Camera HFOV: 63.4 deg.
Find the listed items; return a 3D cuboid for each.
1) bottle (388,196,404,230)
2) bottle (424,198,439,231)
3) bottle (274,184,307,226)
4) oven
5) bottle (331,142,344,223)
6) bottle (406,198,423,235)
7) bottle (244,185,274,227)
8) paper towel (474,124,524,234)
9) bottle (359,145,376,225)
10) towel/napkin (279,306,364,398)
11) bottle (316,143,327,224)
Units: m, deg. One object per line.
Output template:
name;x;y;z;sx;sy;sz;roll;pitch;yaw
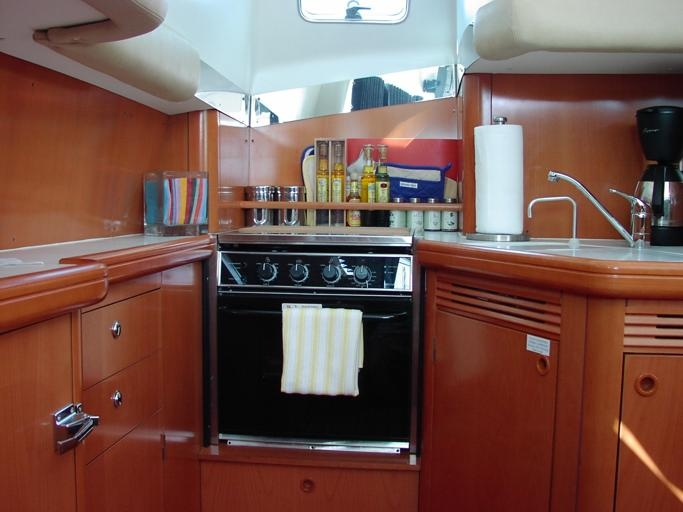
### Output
bottle;0.247;-0.195;2.474;0.073;0.133;0.141;1;3;6
bottle;0.411;-0.186;2.491;0.079;0.144;0.084;0;3;0
bottle;-0.228;-0.243;2.608;0.160;0.189;0.162;1;12;3
oven;-0.107;0.243;2.420;0.772;0.968;0.664;2;20;0
bottle;-0.020;-0.334;2.503;0.066;0.384;0.078;0;2;-1
bottle;0.319;-0.180;2.424;0.079;0.163;0.326;1;3;7
bottle;-0.356;-0.233;2.556;0.157;0.187;0.165;-1;6;-5
paper towel;0.569;-0.274;2.020;0.171;0.391;0.085;1;3;14
bottle;0.116;-0.332;2.494;0.070;0.323;0.071;-1;26;0
towel/napkin;-0.072;0.352;2.084;0.294;0.325;0.085;2;1;8
bottle;-0.090;-0.337;2.516;0.063;0.382;0.058;0;2;0
